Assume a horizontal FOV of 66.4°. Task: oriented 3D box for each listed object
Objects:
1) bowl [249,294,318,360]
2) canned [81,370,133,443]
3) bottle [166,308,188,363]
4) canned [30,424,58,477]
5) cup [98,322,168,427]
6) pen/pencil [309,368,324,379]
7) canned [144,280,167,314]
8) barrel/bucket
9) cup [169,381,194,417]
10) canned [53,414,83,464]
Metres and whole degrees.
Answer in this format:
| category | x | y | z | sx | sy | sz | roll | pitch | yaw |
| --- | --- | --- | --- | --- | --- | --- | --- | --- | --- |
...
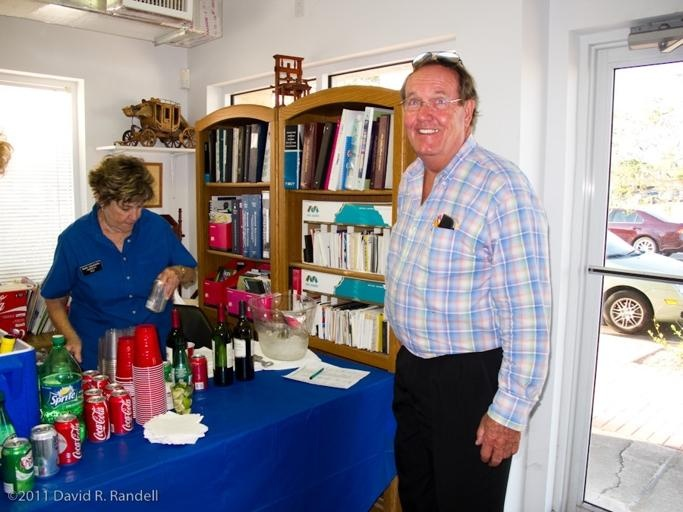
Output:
| category | x | y | z | sx | sy | sz | roll | pitch | yaw |
| --- | --- | --- | --- | --- | --- | --- | --- | --- | --- |
| bowl | -0.336 | 0.423 | 2.882 | 0.406 | 0.285 | 0.421 | -1 | 1 | 0 |
| canned | -0.914 | 0.585 | 2.055 | 0.175 | 0.223 | 0.196 | -4 | 8 | -23 |
| bottle | -0.714 | 0.373 | 2.275 | 0.098 | 0.290 | 0.092 | -2 | 4 | 0 |
| canned | -1.016 | 0.672 | 1.793 | 0.081 | 0.177 | 0.054 | -6 | 9 | -31 |
| cup | -0.826 | 0.474 | 2.184 | 0.299 | 0.367 | 0.382 | -8 | 7 | -36 |
| pen/pencil | -0.119 | 0.578 | 2.567 | 0.020 | 0.014 | 0.140 | 15 | 12 | 17 |
| canned | -0.879 | 0.193 | 2.496 | 0.070 | 0.169 | 0.097 | 0 | 8 | 10 |
| barrel/bucket | -0.358 | 0.425 | 2.875 | 0.401 | 0.291 | 0.401 | -1 | -7 | 0 |
| cup | -0.661 | 0.592 | 2.168 | 0.085 | 0.127 | 0.089 | 2 | -1 | 0 |
| canned | -0.973 | 0.655 | 1.856 | 0.078 | 0.178 | 0.045 | -5 | 9 | -27 |
